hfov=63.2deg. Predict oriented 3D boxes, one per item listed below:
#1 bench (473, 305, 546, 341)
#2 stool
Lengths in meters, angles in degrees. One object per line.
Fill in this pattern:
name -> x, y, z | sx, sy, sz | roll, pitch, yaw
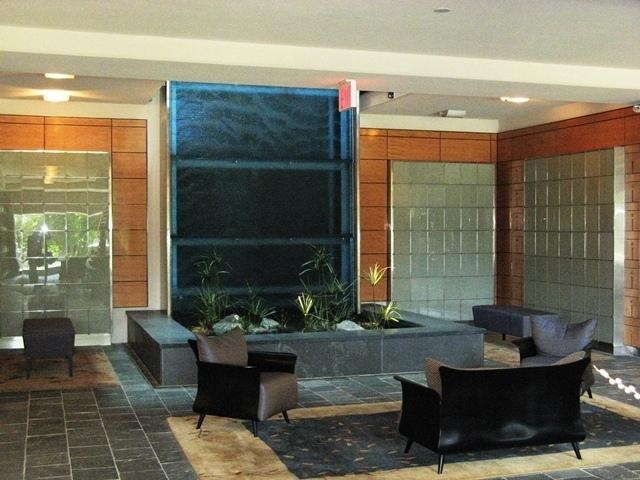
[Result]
bench -> 3.127, 1.392, 8.674 | 0.759, 0.395, 1.145 | -3, 4, -22
stool -> -3.768, 1.522, 7.569 | 0.884, 0.614, 0.933 | 0, 6, -21
